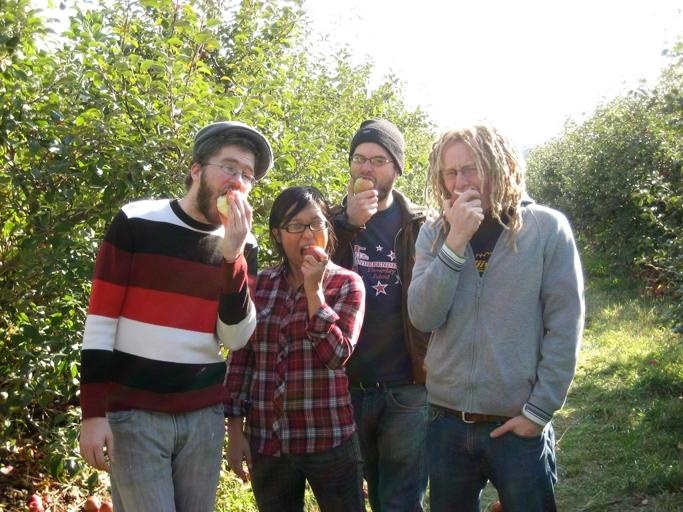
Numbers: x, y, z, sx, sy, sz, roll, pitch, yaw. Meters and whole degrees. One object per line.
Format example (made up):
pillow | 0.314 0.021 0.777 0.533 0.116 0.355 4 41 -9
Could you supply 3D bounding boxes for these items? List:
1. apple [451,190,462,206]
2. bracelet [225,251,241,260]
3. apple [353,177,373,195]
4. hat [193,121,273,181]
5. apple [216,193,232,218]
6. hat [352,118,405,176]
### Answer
apple | 0.633 -0.317 3.151 0.024 0.070 0.048 18 17 -20
bracelet | -0.544 -0.004 2.883 0.044 0.035 0.046 6 11 40
apple | 0.145 -0.461 3.751 0.100 0.127 0.107 5 -5 -5
hat | -0.574 -0.581 3.007 0.328 0.113 0.313 15 -21 35
apple | -0.597 -0.248 2.872 0.036 0.106 0.089 -3 -50 47
hat | 0.258 -0.814 4.025 0.291 0.299 0.381 4 -6 27
